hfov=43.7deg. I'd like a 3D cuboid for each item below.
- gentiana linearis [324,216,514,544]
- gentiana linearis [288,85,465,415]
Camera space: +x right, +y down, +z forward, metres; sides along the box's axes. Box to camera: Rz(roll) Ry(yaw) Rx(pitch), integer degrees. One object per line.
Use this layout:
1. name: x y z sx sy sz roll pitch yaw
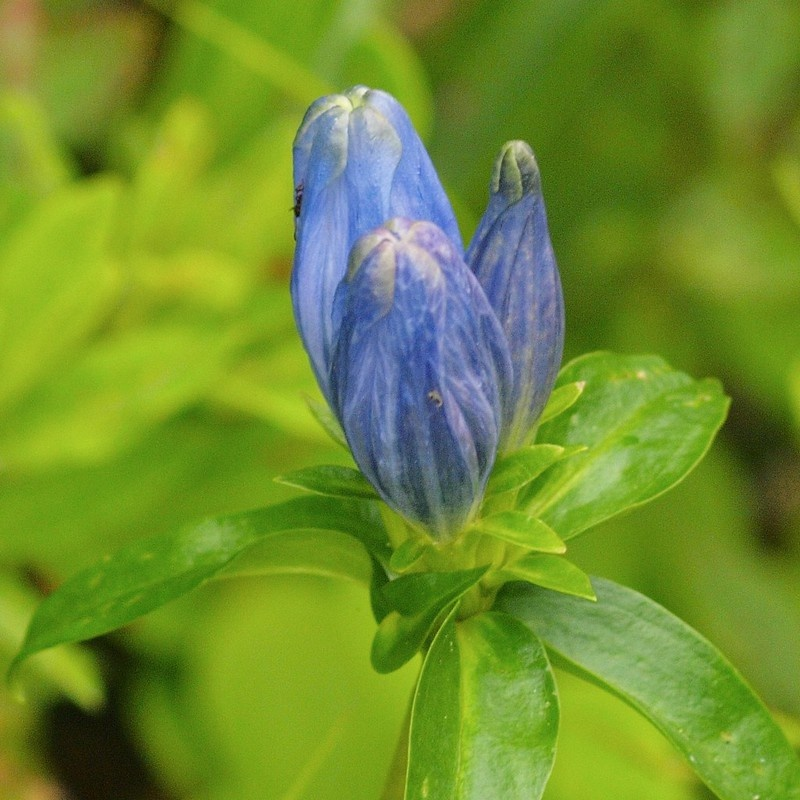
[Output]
1. gentiana linearis: 0.010 -0.012 0.589 0.094 0.216 0.100 27 47 37
2. gentiana linearis: -0.014 -0.068 0.581 0.060 0.194 0.085 -1 -2 -37
